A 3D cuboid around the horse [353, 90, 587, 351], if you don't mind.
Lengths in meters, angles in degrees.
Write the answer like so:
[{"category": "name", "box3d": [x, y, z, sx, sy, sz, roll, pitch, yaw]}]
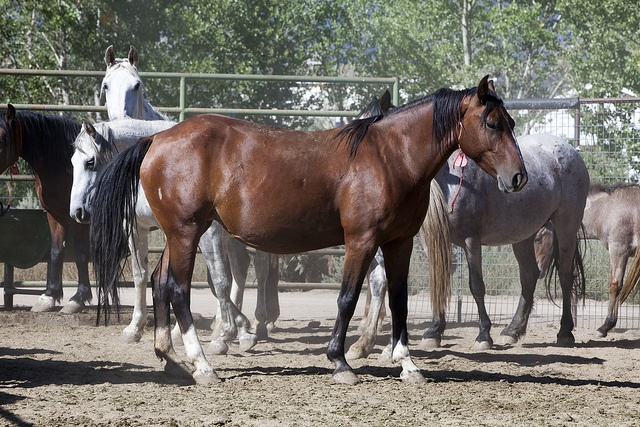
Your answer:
[{"category": "horse", "box3d": [2.917, 0.442, 18.307, 5.970, 4.682, 1.741, 0, 6, -33]}]
